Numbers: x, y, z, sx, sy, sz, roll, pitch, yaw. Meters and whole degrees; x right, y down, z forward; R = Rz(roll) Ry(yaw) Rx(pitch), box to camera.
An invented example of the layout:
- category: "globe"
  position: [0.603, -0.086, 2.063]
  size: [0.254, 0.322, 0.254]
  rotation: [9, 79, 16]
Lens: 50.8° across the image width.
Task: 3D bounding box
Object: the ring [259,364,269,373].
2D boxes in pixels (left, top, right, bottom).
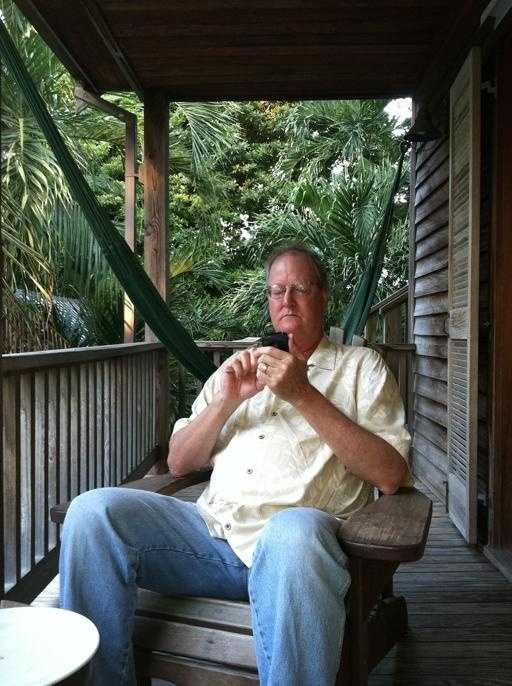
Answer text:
- category: "ring"
  position: [0.013, 0.054, 1.094]
  size: [0.016, 0.016, 0.004]
  rotation: [-5, 1, 45]
